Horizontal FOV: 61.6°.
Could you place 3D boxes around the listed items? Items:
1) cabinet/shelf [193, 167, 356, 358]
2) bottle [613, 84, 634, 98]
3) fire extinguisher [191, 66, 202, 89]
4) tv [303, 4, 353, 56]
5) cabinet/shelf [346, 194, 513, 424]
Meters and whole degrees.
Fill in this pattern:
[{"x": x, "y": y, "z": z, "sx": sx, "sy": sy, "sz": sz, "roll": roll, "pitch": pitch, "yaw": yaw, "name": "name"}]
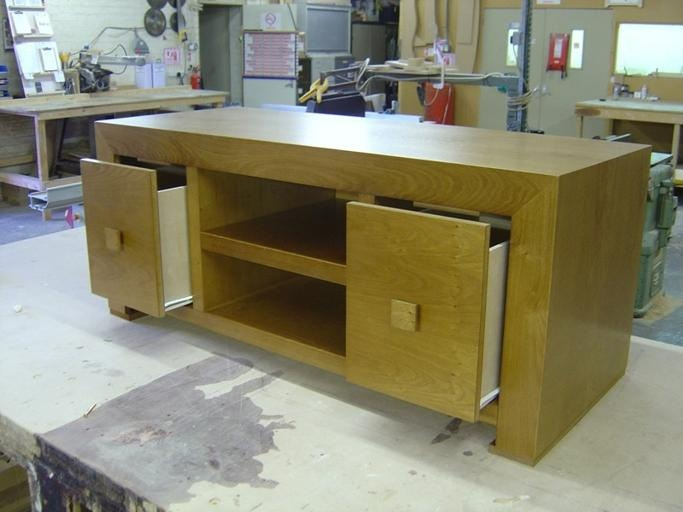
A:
[{"x": -0.134, "y": -0.005, "z": 2.169, "sx": 0.639, "sy": 0.431, "sz": 0.634, "roll": 18, "pitch": 25, "yaw": 38, "name": "cabinet/shelf"}, {"x": 2.915, "y": -1.710, "z": 5.938, "sx": 0.236, "sy": 0.130, "sz": 0.136, "roll": -5, "pitch": 17, "yaw": -21, "name": "bottle"}, {"x": -1.908, "y": -2.316, "z": 7.426, "sx": 0.128, "sy": 0.283, "sz": 0.304, "roll": -6, "pitch": 19, "yaw": -11, "name": "fire extinguisher"}, {"x": -0.226, "y": -3.159, "z": 7.991, "sx": 0.874, "sy": 0.546, "sz": 0.128, "roll": -21, "pitch": 31, "yaw": -40, "name": "tv"}, {"x": 0.344, "y": 0.135, "z": 1.709, "sx": 0.454, "sy": 0.530, "sz": 0.480, "roll": -7, "pitch": 11, "yaw": -43, "name": "cabinet/shelf"}]
